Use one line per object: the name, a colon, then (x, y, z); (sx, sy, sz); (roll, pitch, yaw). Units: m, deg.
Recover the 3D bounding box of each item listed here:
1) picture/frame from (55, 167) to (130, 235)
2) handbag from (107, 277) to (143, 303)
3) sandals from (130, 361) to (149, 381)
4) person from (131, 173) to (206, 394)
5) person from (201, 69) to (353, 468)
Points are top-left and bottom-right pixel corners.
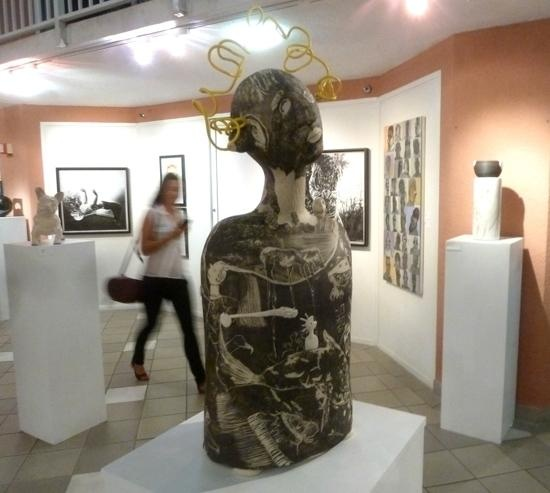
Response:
picture/frame: (-2.303, -0.577, 5.952); (0.845, 0.989, 0.020); (-2, -28, -25)
handbag: (-1.042, 0.277, 3.276); (0.185, 0.161, 0.197); (1, -2, -6)
sandals: (-1.130, 1.020, 3.905); (0.071, 0.124, 0.237); (2, 12, -39)
person: (-0.853, 0.299, 3.503); (0.660, 1.673, 0.374); (4, 8, 31)
person: (0.027, 0.067, 1.508); (0.526, 1.228, 0.247); (-4, 8, -27)
